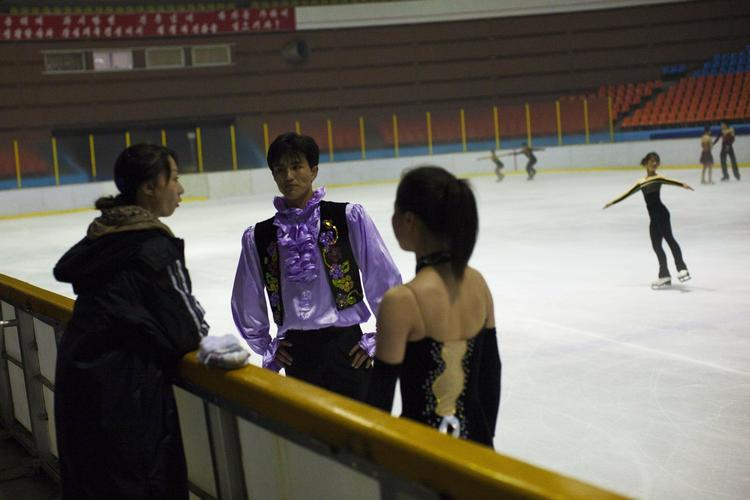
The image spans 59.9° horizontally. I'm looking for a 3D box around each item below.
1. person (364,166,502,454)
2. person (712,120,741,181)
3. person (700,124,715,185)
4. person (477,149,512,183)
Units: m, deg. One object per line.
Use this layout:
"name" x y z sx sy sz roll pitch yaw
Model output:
"person" 0.214 0.221 2.327 0.451 1.012 0.284 -1 14 -3
"person" 8.493 -2.430 15.650 0.606 1.243 3.194 7 15 27
"person" 7.542 -2.165 14.780 0.346 1.173 2.747 7 15 26
"person" 4.070 -2.882 22.173 1.254 1.184 0.414 -24 -26 21
